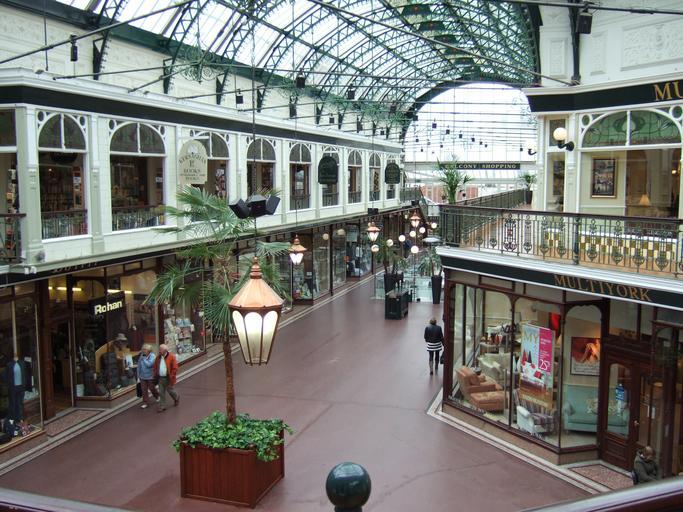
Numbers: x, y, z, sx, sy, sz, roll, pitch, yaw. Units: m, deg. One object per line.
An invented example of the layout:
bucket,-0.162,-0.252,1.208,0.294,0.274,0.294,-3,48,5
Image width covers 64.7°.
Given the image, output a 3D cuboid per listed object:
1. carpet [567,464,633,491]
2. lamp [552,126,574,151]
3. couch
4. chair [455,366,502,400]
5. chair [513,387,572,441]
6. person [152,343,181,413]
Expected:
carpet,5.172,4.260,10.671,0.894,0.187,1.145,-6,9,-33
lamp,5.338,-2.835,12.962,0.472,0.529,1.172,3,8,24
couch,5.310,3.220,11.528,1.472,1.334,0.868,0,1,13
chair,3.289,3.046,13.017,0.749,0.800,0.753,-3,6,-11
chair,4.354,3.418,11.700,0.726,0.998,0.760,-1,1,-18
person,-4.454,3.092,13.892,0.537,1.705,0.729,3,5,44
